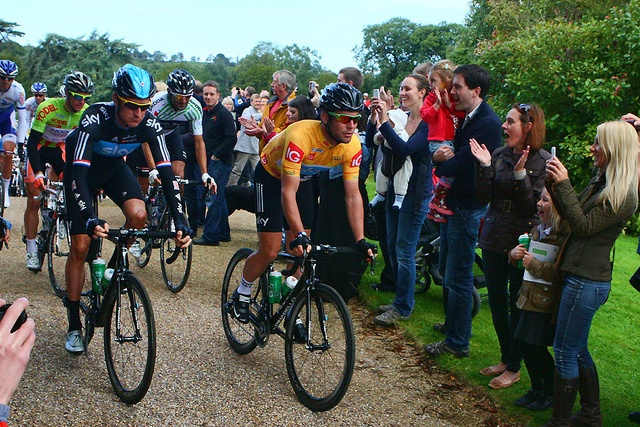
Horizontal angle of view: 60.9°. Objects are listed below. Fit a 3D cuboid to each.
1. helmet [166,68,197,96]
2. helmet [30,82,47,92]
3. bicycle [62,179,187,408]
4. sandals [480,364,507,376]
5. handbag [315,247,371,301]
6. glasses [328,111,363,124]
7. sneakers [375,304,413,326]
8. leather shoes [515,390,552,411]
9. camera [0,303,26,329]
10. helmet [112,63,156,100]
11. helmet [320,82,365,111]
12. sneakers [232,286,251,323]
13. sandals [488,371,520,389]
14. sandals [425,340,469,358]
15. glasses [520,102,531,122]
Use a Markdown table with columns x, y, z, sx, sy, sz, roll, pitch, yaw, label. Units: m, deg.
| x | y | z | sx | sy | sz | roll | pitch | yaw | label |
| --- | --- | --- | --- | --- | --- | --- | --- | --- | --- |
| -2.167 | -2.049 | 8.383 | 0.328 | 0.227 | 0.470 | -2 | 40 | -30 | helmet |
| -6.608 | -3.001 | 12.833 | 0.333 | 0.169 | 0.455 | 0 | 3 | -22 | helmet |
| -2.073 | 1.015 | 5.799 | 0.462 | 1.714 | 1.378 | -3 | 10 | -42 | bicycle |
| 2.004 | 1.804 | 6.372 | 0.354 | 0.134 | 0.116 | 1 | 12 | 3 | sandals |
| 0.298 | 0.765 | 6.710 | 0.740 | 0.712 | 0.243 | -4 | -4 | 0 | handbag |
| 0.253 | -1.006 | 5.787 | 0.340 | 0.112 | 0.130 | 4 | 7 | 1 | glasses |
| 0.976 | 1.427 | 7.612 | 0.597 | 0.244 | 0.214 | 2 | -1 | -1 | sneakers |
| 2.289 | 1.965 | 5.817 | 0.282 | 0.091 | 0.204 | -3 | 1 | -28 | leather shoes |
| -2.092 | 0.698 | 3.724 | 0.141 | 0.191 | 0.063 | 22 | 4 | -28 | camera |
| -2.015 | -1.412 | 5.903 | 0.325 | 0.190 | 0.448 | -11 | 51 | -38 | helmet |
| 0.230 | -1.244 | 5.741 | 0.287 | 0.190 | 0.397 | -3 | 16 | -25 | helmet |
| -0.948 | 1.074 | 6.538 | 0.148 | 0.425 | 0.196 | -5 | -28 | -35 | sneakers |
| 2.067 | 1.859 | 6.195 | 0.396 | 0.151 | 0.151 | -8 | 7 | -22 | sandals |
| 1.561 | 1.680 | 6.781 | 0.534 | 0.229 | 0.190 | 12 | -5 | 16 | sandals |
| 2.269 | -1.127 | 6.043 | 0.138 | 0.173 | 0.061 | -4 | -8 | -7 | glasses |
